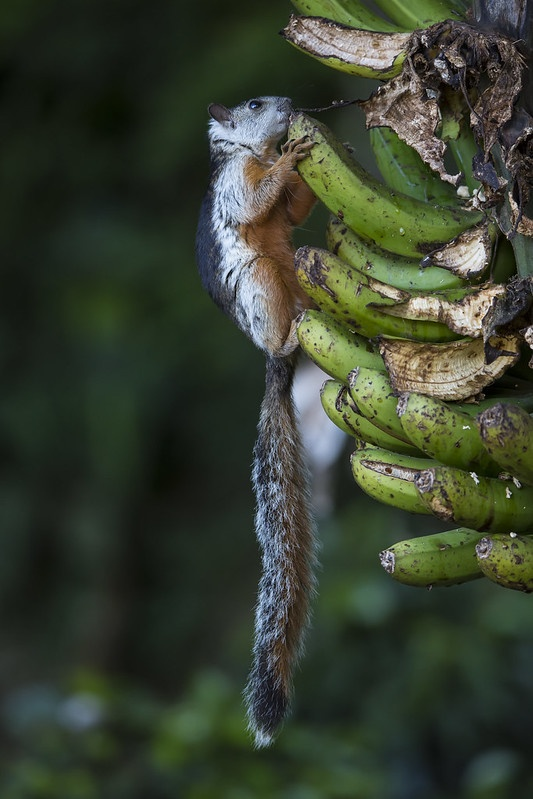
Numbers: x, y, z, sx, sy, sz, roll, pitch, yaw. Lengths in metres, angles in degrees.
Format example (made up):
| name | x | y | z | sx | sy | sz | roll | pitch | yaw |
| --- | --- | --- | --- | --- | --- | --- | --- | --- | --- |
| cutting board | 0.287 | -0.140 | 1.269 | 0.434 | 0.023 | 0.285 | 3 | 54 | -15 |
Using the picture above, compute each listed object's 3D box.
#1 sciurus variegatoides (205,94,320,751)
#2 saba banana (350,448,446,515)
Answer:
| name | x | y | z | sx | sy | sz | roll | pitch | yaw |
| --- | --- | --- | --- | --- | --- | --- | --- | --- | --- |
| sciurus variegatoides | 0.046 | 0.066 | 2.105 | 0.291 | 1.447 | 0.304 | -10 | 19 | -10 |
| saba banana | 0.185 | 0.109 | 1.372 | 0.089 | 0.087 | 0.138 | -14 | 12 | -37 |
